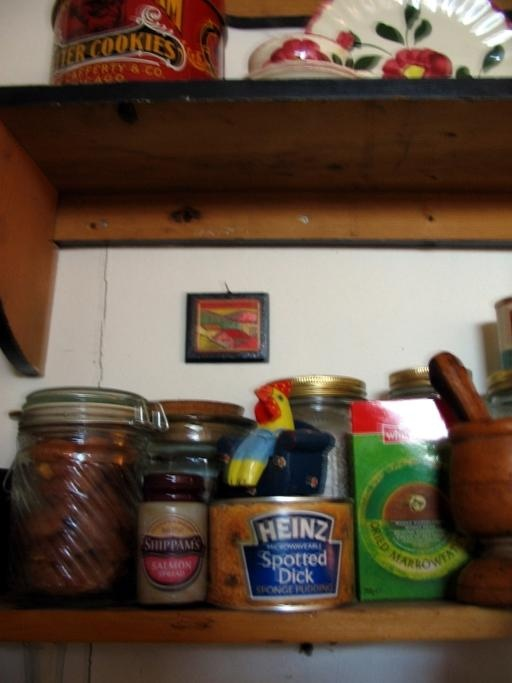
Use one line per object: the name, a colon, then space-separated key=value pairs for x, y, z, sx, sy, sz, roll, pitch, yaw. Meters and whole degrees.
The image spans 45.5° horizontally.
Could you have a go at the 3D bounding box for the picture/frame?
picture/frame: x=-0.039 y=-0.016 z=0.848 sx=0.109 sy=0.087 sz=0.008 roll=0 pitch=-21 yaw=1

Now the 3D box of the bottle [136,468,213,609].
bottle: x=-0.078 y=0.186 z=0.579 sx=0.065 sy=0.118 sz=0.037 roll=0 pitch=-6 yaw=-6
